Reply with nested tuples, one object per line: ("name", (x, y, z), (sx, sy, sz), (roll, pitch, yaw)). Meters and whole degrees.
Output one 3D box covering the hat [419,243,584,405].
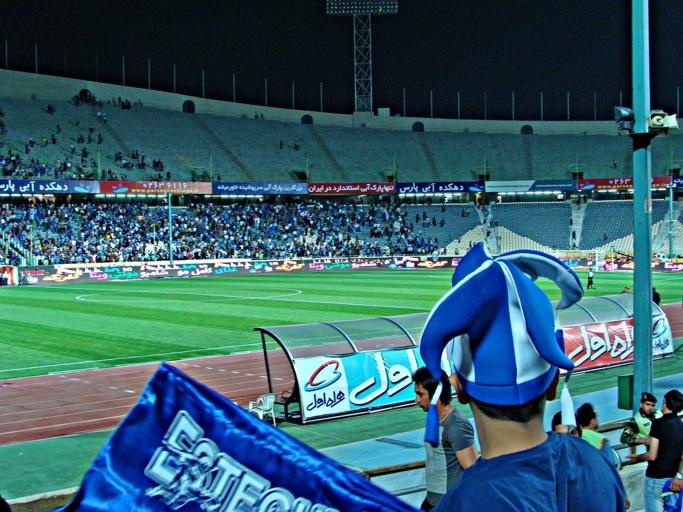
("hat", (1.059, 0.435, 6.084), (1.042, 0.749, 1.217), (-7, 21, 11))
